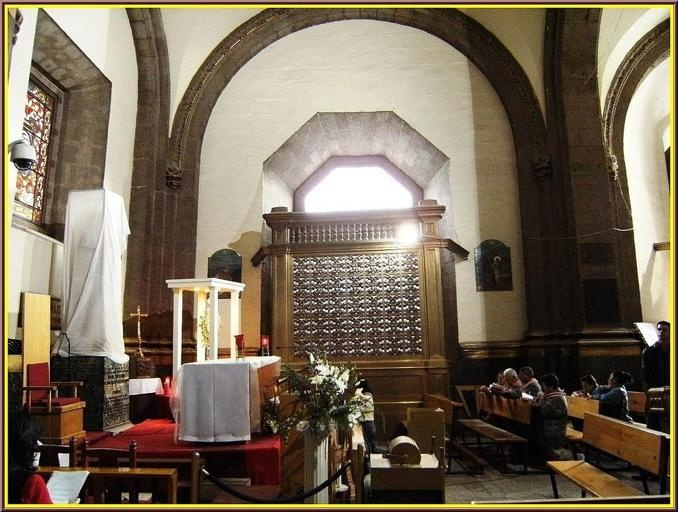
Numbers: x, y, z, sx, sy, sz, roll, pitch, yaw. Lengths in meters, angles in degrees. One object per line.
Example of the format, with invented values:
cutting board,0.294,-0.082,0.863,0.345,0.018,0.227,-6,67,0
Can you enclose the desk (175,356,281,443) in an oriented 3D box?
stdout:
desk,-1.458,1.925,7.666,1.113,0.902,1.887,-2,-8,6

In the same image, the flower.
flower,-0.155,1.319,5.419,0.759,0.890,0.881,0,-4,13

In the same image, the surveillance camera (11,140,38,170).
surveillance camera,-3.834,-1.220,6.598,0.275,0.384,0.319,4,-12,-38

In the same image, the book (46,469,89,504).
book,-2.183,1.843,4.372,0.340,0.232,0.242,-2,-10,-7
